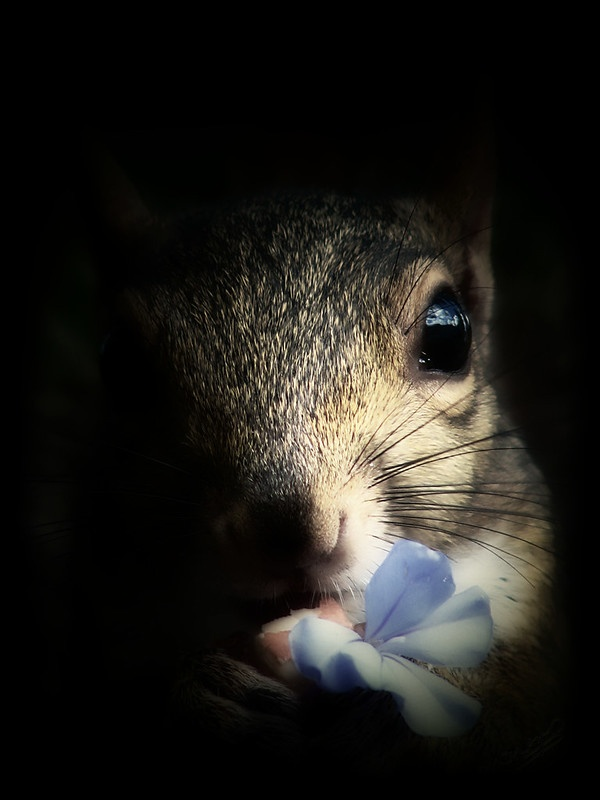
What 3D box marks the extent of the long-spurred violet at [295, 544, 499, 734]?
[{"bbox_3d":[0.177,0.408,1.973,0.480,0.384,0.336,1,-70,0],"label":"long-spurred violet"}]
